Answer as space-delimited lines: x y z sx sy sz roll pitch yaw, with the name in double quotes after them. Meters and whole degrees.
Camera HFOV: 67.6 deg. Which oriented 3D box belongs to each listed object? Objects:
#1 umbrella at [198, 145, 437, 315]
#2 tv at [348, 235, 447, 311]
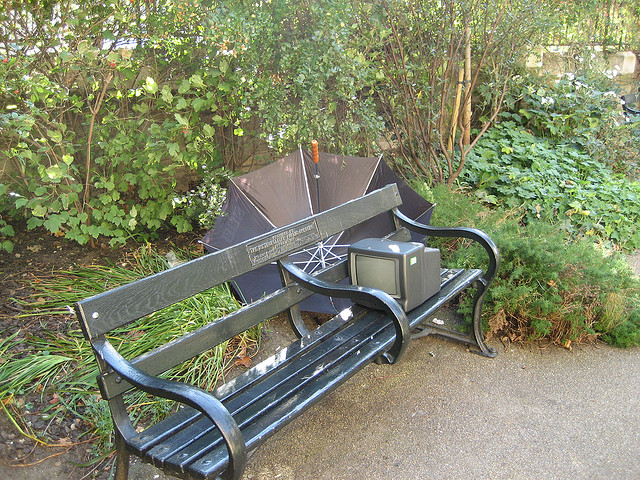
0.041 0.152 4.780 1.629 0.775 1.653 -16 49 0 "umbrella"
0.577 0.126 3.513 0.596 0.503 0.548 15 18 34 "tv"
